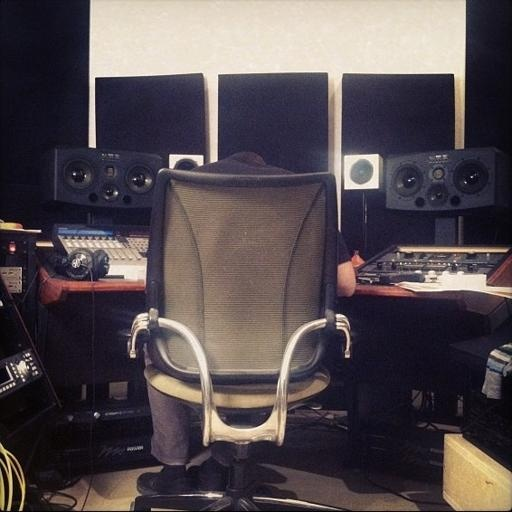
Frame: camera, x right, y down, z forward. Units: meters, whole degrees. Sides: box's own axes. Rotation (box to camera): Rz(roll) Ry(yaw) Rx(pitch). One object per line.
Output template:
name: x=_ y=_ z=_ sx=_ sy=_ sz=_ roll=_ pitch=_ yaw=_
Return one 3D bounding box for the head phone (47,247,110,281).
head phone: x=-0.689 y=0.034 z=2.327 sx=0.146 sy=0.083 sz=0.140 roll=5 pitch=-1 yaw=16

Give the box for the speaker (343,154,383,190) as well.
speaker: x=0.590 y=-0.442 z=3.332 sx=0.195 sy=0.214 sz=0.118 roll=-1 pitch=-21 yaw=14

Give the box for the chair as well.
chair: x=-0.039 y=0.285 z=2.222 sx=0.851 sy=1.511 sz=0.807 roll=1 pitch=-3 yaw=-4
